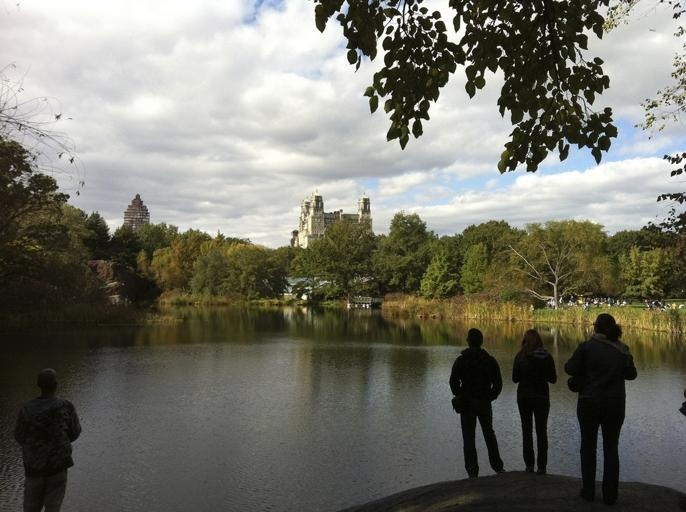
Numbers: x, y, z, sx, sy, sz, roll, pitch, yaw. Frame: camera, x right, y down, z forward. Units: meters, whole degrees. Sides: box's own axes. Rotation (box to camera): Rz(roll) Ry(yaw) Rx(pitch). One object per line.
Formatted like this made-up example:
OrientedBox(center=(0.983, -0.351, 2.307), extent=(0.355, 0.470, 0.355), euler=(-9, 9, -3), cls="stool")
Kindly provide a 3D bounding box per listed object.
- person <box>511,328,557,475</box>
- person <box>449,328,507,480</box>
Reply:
OrientedBox(center=(3.787, 2.909, 12.630), extent=(0.787, 2.694, 0.658), euler=(-1, 0, 20), cls="person")
OrientedBox(center=(2.683, 3.026, 12.818), extent=(1.010, 2.890, 1.178), euler=(-1, 0, 13), cls="person")
